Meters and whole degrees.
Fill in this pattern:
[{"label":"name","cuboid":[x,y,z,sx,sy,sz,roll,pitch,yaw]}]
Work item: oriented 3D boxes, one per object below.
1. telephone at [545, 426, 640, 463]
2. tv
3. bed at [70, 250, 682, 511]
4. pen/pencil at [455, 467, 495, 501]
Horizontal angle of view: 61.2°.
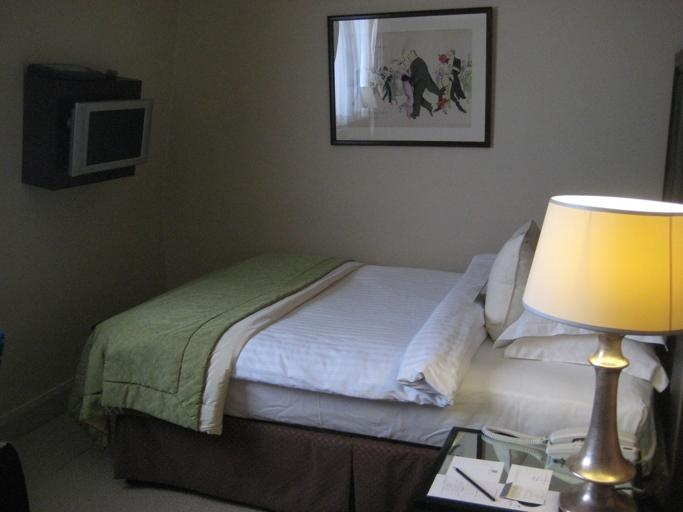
[{"label":"telephone","cuboid":[0.929,0.699,2.128,0.233,0.076,0.171,-6,7,15]},{"label":"tv","cuboid":[-1.461,-0.754,3.580,0.055,0.380,0.515,18,20,20]},{"label":"bed","cuboid":[-0.184,0.512,2.858,1.655,0.476,1.499,4,21,13]},{"label":"pen/pencil","cuboid":[0.478,0.802,2.016,0.019,0.016,0.188,-26,18,-12]}]
